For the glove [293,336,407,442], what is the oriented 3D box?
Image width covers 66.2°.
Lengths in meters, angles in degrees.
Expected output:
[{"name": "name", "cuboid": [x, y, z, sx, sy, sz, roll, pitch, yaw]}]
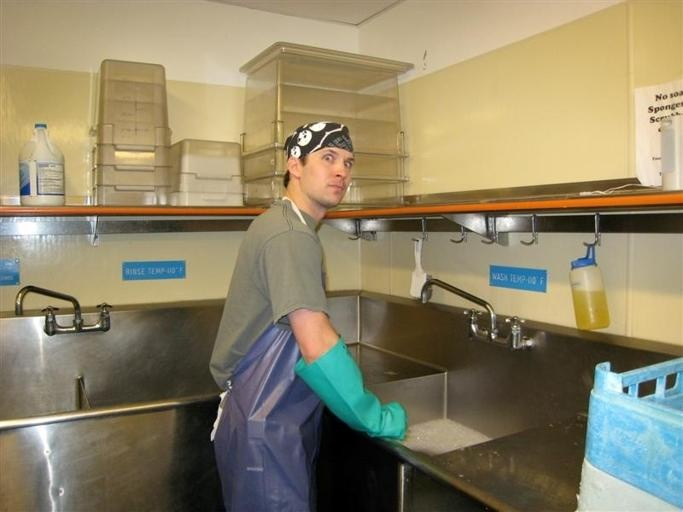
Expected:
[{"name": "glove", "cuboid": [0.048, 0.419, 1.631, 0.352, 0.353, 0.136, -8, 9, -24]}]

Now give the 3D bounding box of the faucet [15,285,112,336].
[{"name": "faucet", "cuboid": [-1.265, 0.242, 2.406, 0.370, 0.280, 0.334, -8, 9, -24]}]

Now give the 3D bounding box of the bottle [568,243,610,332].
[{"name": "bottle", "cuboid": [0.875, 0.105, 1.834, 0.121, 0.309, 0.087, -7, 9, -20]}]

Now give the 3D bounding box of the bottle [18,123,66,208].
[{"name": "bottle", "cuboid": [-1.231, -0.366, 2.132, 0.170, 0.328, 0.084, -9, 10, -31]}]

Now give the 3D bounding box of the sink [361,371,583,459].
[{"name": "sink", "cuboid": [0.507, 0.600, 1.962, 0.392, 0.167, 0.392, 3, -1, -28]}]

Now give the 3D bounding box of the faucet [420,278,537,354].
[{"name": "faucet", "cuboid": [0.589, 0.234, 2.236, 0.180, 0.240, 0.560, -10, 10, -36]}]
